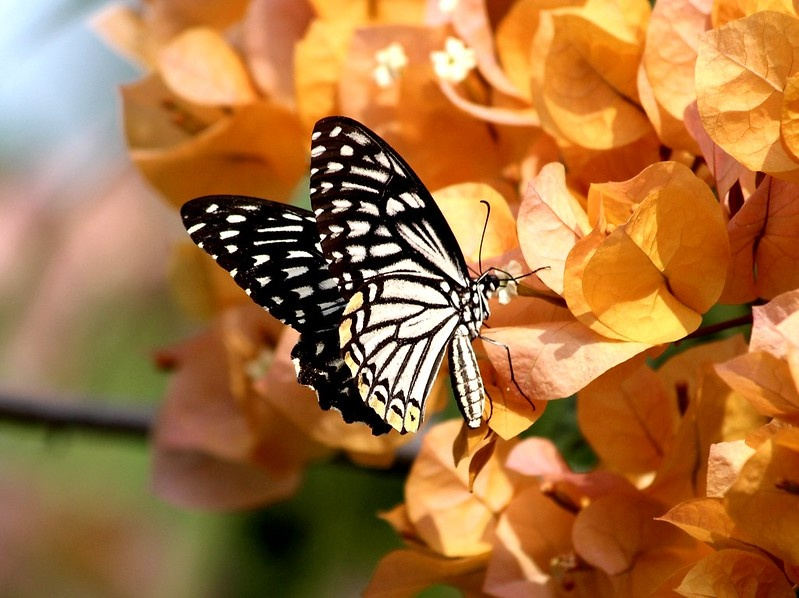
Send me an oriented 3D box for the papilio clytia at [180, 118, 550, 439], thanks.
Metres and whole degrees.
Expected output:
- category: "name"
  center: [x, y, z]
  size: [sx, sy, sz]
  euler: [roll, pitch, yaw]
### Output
- category: "papilio clytia"
  center: [-0.018, -0.003, 0.401]
  size: [0.180, 0.121, 0.100]
  euler: [44, 77, 10]
